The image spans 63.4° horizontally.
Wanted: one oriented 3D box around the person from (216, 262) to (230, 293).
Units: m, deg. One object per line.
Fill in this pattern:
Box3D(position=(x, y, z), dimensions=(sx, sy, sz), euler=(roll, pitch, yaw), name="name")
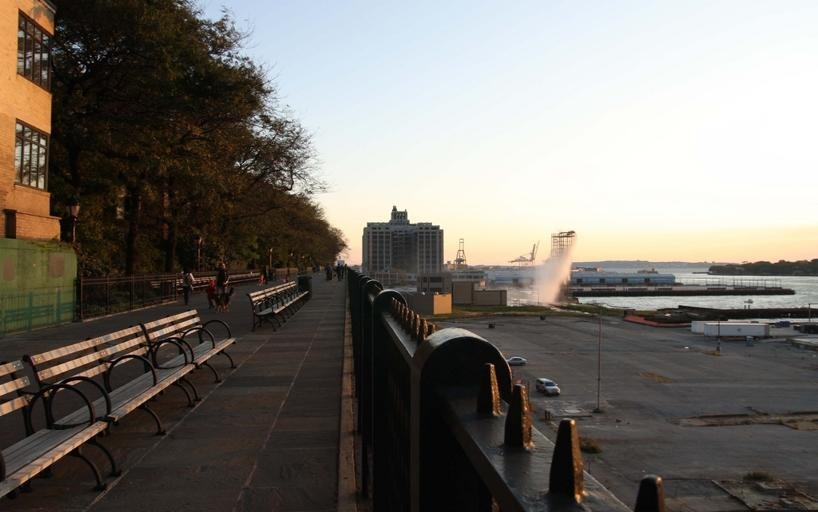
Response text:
Box3D(position=(-9.561, 1.096, 33.847), dimensions=(0.491, 1.448, 1.382), euler=(2, 2, -17), name="person")
